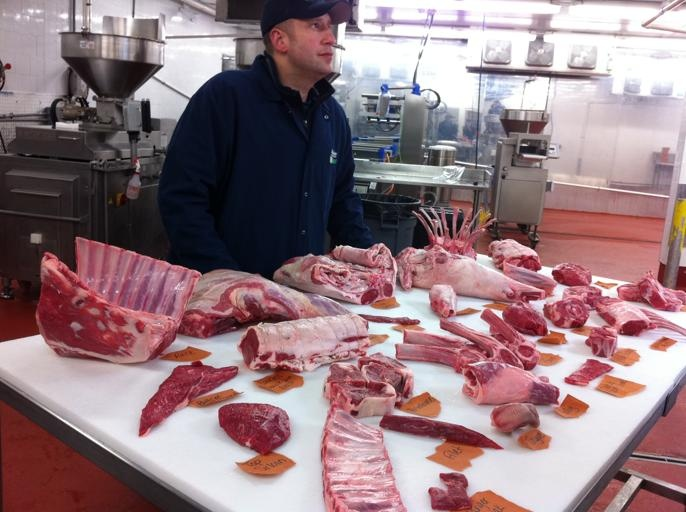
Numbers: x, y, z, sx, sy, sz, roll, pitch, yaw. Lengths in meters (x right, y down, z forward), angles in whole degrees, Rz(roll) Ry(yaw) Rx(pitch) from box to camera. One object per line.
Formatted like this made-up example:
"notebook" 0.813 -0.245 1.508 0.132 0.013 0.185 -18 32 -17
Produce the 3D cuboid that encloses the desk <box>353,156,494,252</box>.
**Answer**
"desk" 1.098 -0.750 6.748 2.142 1.151 1.071 4 14 17

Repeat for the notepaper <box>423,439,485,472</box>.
"notepaper" 0.261 0.464 1.145 0.091 0.011 0.110 16 19 37

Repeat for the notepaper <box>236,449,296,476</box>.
"notepaper" -0.168 0.457 1.079 0.091 0.016 0.095 16 19 38

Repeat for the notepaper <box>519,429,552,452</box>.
"notepaper" 0.471 0.453 1.210 0.066 0.012 0.094 16 19 37
